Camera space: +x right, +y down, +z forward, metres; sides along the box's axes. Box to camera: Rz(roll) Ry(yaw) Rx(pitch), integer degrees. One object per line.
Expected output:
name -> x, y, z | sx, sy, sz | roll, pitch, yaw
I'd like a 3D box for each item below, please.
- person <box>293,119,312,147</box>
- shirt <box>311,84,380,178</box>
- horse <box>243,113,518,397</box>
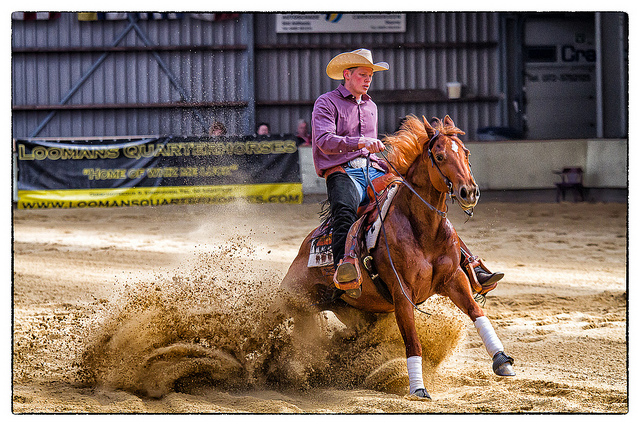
person -> -0.371, -2.074, 31.908 | 0.522, 0.854, 0.270 | -2, -2, -1
shirt -> 0.617, -1.601, 24.576 | 1.230, 1.928, 1.581 | -3, -10, 28
horse -> 1.080, 0.912, 25.319 | 1.856, 5.614, 6.306 | 0, -7, -38
